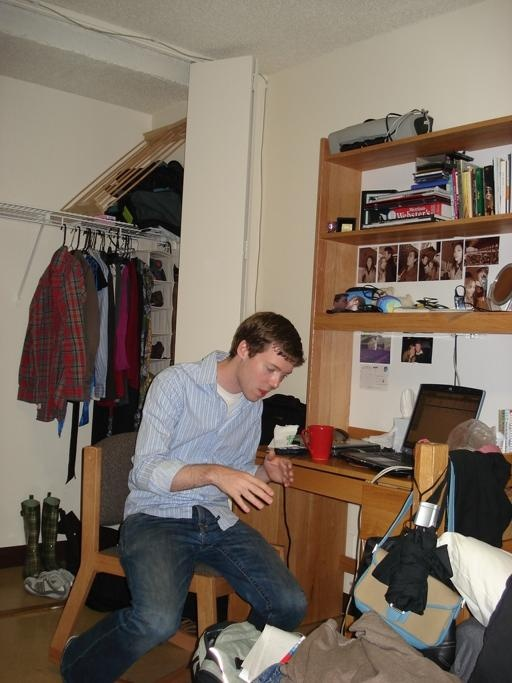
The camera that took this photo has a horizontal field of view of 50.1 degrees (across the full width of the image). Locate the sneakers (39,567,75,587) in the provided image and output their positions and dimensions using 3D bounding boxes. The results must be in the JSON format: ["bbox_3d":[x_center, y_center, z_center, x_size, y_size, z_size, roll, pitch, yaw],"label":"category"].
[{"bbox_3d":[-0.919,1.094,2.538,0.159,0.062,0.124,3,0,40],"label":"sneakers"}]

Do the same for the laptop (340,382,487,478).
[{"bbox_3d":[0.540,0.298,1.928,0.350,0.250,0.327,2,-1,-20],"label":"laptop"}]

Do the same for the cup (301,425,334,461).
[{"bbox_3d":[0.215,0.372,1.996,0.091,0.125,0.138,5,-6,-35],"label":"cup"}]
